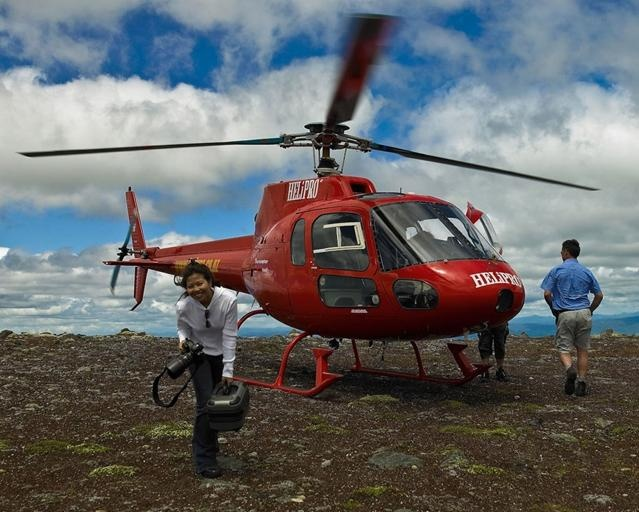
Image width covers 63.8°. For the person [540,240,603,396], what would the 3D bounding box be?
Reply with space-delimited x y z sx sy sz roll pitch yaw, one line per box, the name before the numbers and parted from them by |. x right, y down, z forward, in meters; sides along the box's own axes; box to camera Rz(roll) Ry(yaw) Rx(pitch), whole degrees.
person | 4.202 0.991 8.757 1.315 2.436 1.307 3 -4 40

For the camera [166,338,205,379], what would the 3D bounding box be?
camera | -1.428 1.097 5.465 0.464 0.373 0.229 -37 46 -21

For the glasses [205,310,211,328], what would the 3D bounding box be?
glasses | -1.193 0.680 5.516 0.056 0.171 0.047 -2 0 -16

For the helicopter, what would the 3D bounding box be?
helicopter | 0.257 -0.037 8.561 4.828 5.575 3.722 -2 0 40
